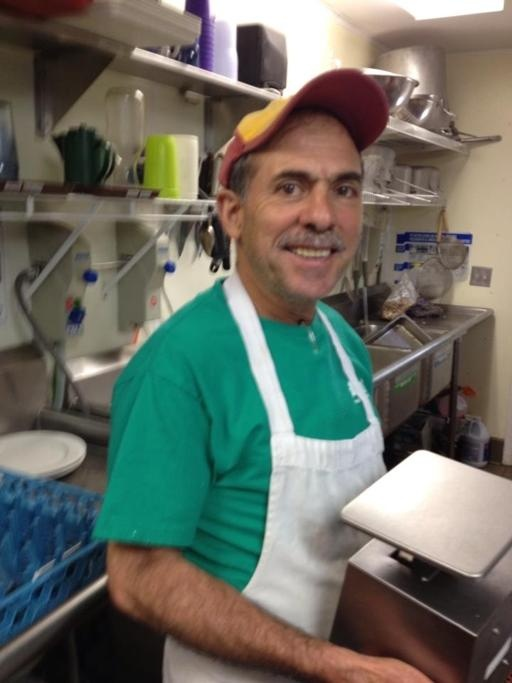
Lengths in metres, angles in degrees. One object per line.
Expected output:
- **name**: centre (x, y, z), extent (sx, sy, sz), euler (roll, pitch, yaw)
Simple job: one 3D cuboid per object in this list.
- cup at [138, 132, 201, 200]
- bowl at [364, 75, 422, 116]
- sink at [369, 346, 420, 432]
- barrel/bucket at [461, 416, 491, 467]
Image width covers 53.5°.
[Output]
- **cup**: centre (-0.231, -0.470, 1.467), extent (0.190, 0.217, 0.186), euler (1, 8, 0)
- **bowl**: centre (0.616, -1.095, 2.268), extent (0.181, 0.145, 0.190), euler (7, 17, -2)
- **sink**: centre (0.552, 0.170, 2.020), extent (0.240, 0.232, 0.374), euler (1, 8, 25)
- **barrel/bucket**: centre (1.436, 0.666, 3.331), extent (0.151, 0.330, 0.151), euler (0, 11, 0)
